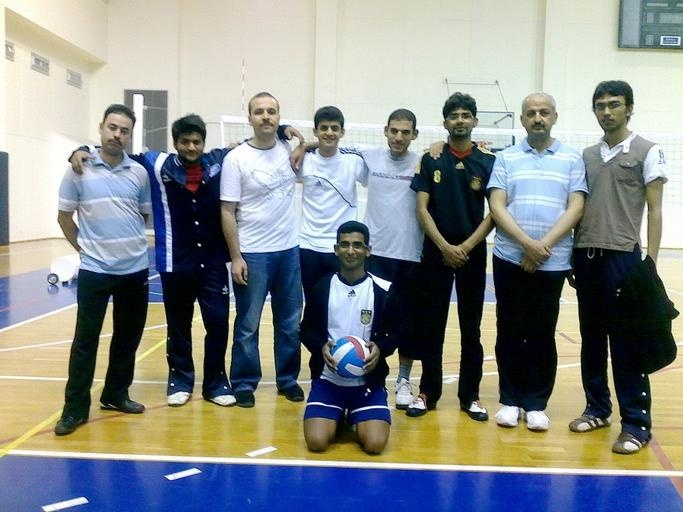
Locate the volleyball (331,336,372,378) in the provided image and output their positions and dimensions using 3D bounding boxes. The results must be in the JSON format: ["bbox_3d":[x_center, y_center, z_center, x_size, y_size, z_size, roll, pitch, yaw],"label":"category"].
[{"bbox_3d":[0.066,0.651,4.206,0.250,0.258,0.255,-6,-4,8],"label":"volleyball"}]

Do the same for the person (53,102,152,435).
[{"bbox_3d":[-1.607,0.068,4.427,0.724,2.128,0.440,-6,12,-36],"label":"person"}]

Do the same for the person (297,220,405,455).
[{"bbox_3d":[0.047,0.511,4.256,0.623,1.423,0.618,1,10,-1],"label":"person"}]
